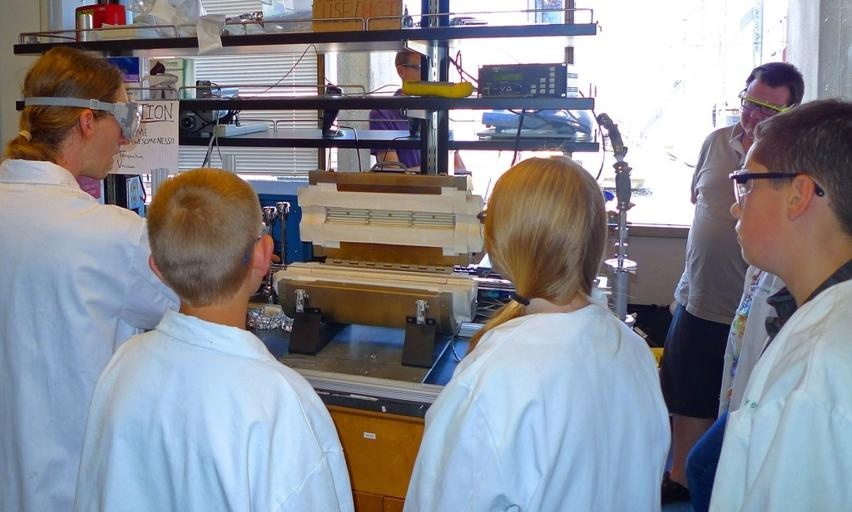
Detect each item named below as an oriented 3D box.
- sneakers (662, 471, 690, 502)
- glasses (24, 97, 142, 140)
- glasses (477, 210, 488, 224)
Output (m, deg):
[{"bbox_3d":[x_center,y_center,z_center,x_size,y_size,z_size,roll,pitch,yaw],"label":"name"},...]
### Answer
[{"bbox_3d":[1.199,1.125,3.899,0.101,0.126,0.046,5,-4,-7],"label":"sneakers"},{"bbox_3d":[-1.194,-0.521,2.846,0.248,0.094,0.202,-10,17,-37],"label":"glasses"},{"bbox_3d":[0.206,-0.153,3.003,0.024,0.063,0.048,-2,25,-34],"label":"glasses"}]
